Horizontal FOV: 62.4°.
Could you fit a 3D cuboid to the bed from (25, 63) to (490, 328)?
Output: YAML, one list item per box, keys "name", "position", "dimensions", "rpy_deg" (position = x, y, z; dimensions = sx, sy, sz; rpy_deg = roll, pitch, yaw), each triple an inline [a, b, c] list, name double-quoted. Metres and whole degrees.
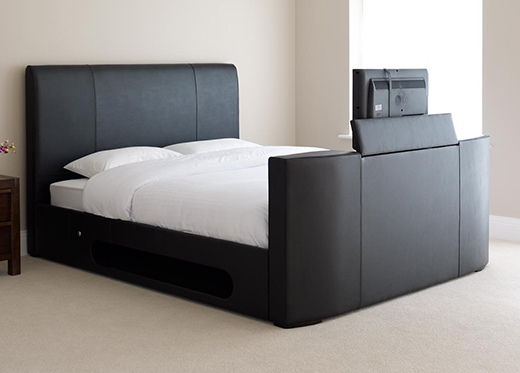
- name: "bed"
  position: [-0.122, 0.062, 2.900]
  dimensions: [1.804, 1.000, 1.788]
  rpy_deg: [4, 7, 41]

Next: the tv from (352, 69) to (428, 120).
- name: "tv"
  position: [0.849, -0.569, 2.642]
  dimensions: [0.540, 0.309, 0.105]
  rpy_deg: [-7, 13, -23]
